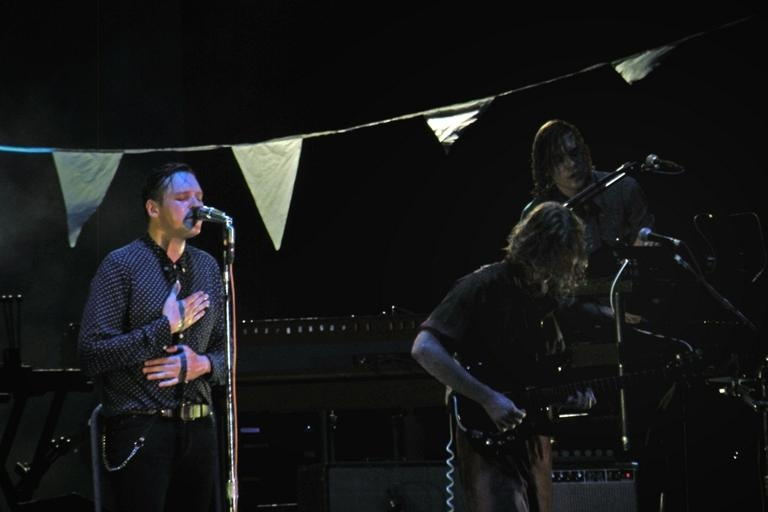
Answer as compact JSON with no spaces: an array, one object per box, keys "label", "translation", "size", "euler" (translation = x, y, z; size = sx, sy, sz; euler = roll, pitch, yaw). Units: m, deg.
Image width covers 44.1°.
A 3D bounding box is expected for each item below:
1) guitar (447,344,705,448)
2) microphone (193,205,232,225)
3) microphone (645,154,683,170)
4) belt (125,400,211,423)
[{"label":"guitar","translation":[1.201,0.913,5.976],"size":[1.530,0.602,0.109],"euler":[0,-20,2]},{"label":"microphone","translation":[-1.027,-0.234,5.671],"size":[0.206,0.091,0.113],"euler":[12,1,2]},{"label":"microphone","translation":[1.886,-0.611,6.387],"size":[0.193,0.080,0.110],"euler":[13,28,22]},{"label":"belt","translation":[-1.227,0.899,5.493],"size":[0.443,0.106,0.059],"euler":[8,-21,-19]}]
